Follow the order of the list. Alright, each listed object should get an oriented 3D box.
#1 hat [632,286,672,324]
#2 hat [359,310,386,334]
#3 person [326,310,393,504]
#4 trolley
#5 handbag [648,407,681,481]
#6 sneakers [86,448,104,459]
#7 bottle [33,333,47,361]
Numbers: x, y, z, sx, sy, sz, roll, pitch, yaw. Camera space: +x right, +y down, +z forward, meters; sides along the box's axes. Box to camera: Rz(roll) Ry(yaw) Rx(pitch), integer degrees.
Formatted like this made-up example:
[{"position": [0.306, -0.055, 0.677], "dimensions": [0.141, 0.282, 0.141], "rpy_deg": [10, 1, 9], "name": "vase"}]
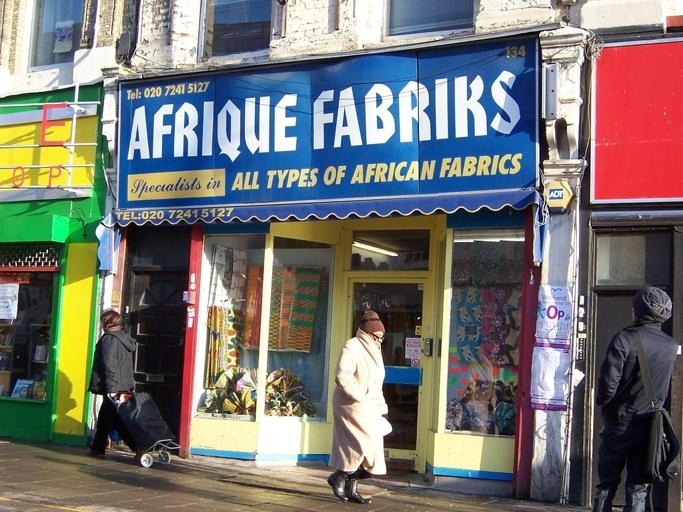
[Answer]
[{"position": [3.290, 0.519, 9.006], "dimensions": [0.328, 0.398, 0.351], "rpy_deg": [3, 4, -7], "name": "hat"}, {"position": [0.371, 0.794, 10.172], "dimensions": [0.289, 0.294, 0.215], "rpy_deg": [-10, 0, 5], "name": "hat"}, {"position": [0.211, 1.758, 9.925], "dimensions": [0.688, 2.229, 0.506], "rpy_deg": [3, -8, 0], "name": "person"}, {"position": [-2.682, 2.321, 11.531], "dimensions": [0.992, 0.956, 0.556], "rpy_deg": [-2, -6, 29], "name": "trolley"}, {"position": [3.250, 1.907, 8.619], "dimensions": [0.328, 0.717, 0.227], "rpy_deg": [1, -8, 9], "name": "handbag"}, {"position": [-3.490, 2.811, 12.011], "dimensions": [0.282, 0.122, 0.105], "rpy_deg": [14, -3, -5], "name": "sneakers"}, {"position": [-4.779, 1.451, 13.414], "dimensions": [0.289, 0.432, 0.056], "rpy_deg": [-3, -10, 38], "name": "bottle"}]
